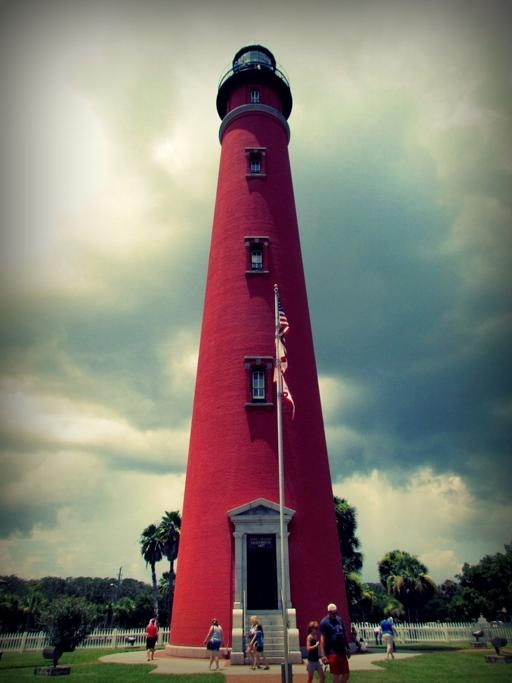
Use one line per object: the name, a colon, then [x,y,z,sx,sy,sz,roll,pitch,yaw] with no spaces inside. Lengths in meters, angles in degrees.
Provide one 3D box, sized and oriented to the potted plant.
potted plant: [-6.430,9.923,18.922,1.537,1.976,0.890,9,-27,-20]
